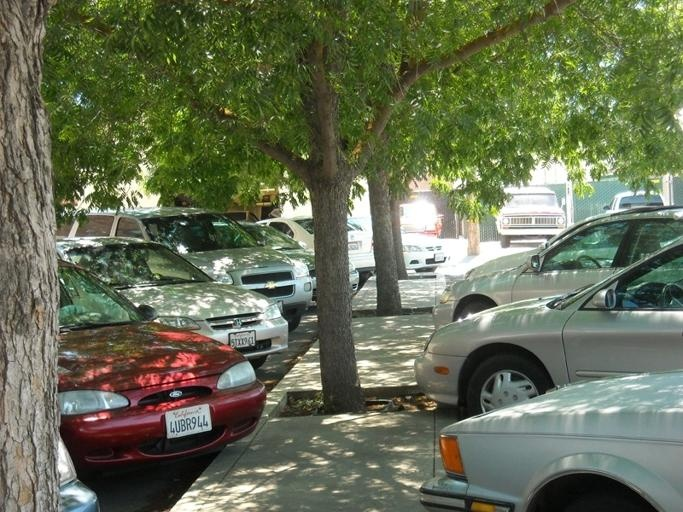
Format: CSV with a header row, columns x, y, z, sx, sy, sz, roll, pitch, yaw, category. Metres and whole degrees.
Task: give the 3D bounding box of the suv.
x,y,z,sx,sy,sz,roll,pitch,yaw,category
8.591,-2.007,29.314,2.941,2.237,5.365,-2,-3,3,suv
